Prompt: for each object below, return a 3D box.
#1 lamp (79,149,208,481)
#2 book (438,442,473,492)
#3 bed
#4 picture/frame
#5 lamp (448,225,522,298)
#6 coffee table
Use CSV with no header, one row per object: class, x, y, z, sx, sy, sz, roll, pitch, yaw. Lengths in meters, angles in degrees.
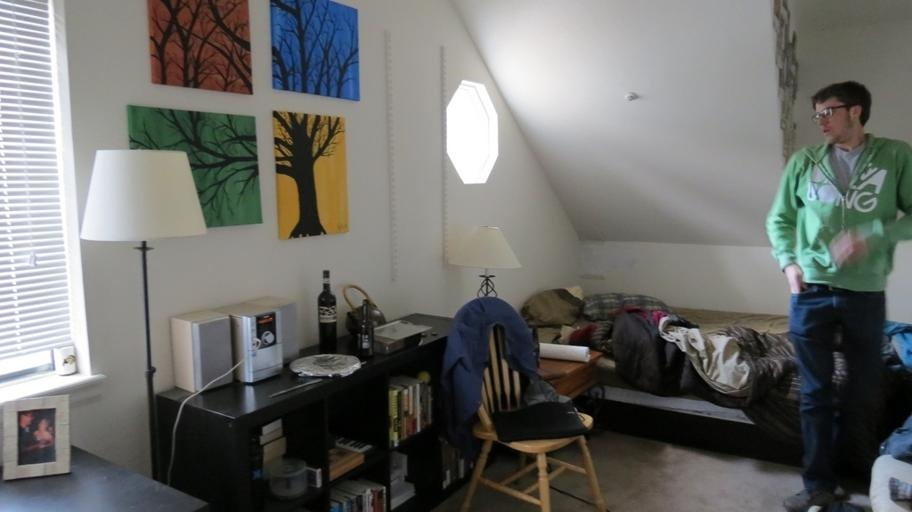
lamp,-1.647,0.331,3.172,0.562,1.784,0.421,0,5,33
book,-0.020,1.455,4.128,0.083,0.313,0.353,4,2,39
bed,1.889,0.918,4.500,1.538,0.344,1.085,8,16,23
picture/frame,-2.076,0.919,2.969,0.396,0.487,0.040,-5,-13,-24
lamp,0.276,0.056,4.675,0.628,0.570,0.579,2,9,19
coffee table,0.853,0.965,4.481,0.428,0.174,0.428,4,11,41
